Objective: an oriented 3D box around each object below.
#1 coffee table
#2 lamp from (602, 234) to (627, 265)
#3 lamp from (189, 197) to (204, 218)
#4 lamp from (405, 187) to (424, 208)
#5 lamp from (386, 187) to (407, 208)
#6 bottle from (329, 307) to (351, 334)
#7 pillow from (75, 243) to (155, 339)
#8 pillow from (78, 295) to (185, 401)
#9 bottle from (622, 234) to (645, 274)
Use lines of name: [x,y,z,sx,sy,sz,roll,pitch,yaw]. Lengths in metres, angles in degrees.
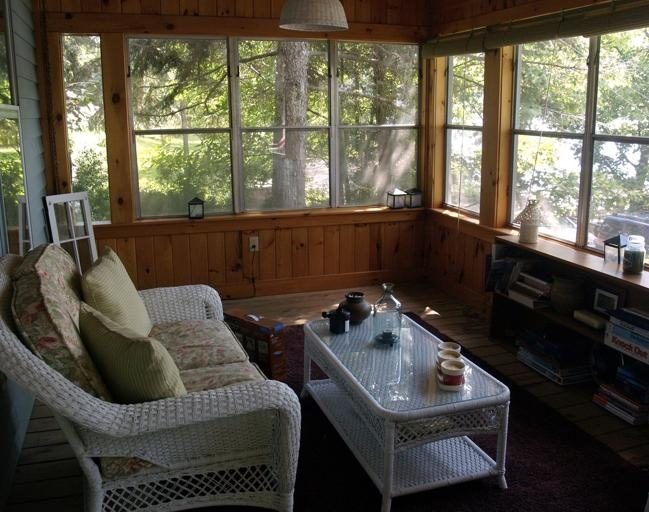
coffee table: [0.430,0.473,2.512,0.659,0.489,1.131,-5,14,-17]
lamp: [1.756,-0.024,3.215,0.123,0.181,0.123,-15,21,-29]
lamp: [-1.115,-0.418,4.673,0.156,0.240,0.158,-2,14,-13]
lamp: [0.868,-0.546,5.159,0.176,0.236,0.172,-6,10,-40]
lamp: [0.694,-0.547,5.107,0.169,0.209,0.173,0,13,3]
bottle: [0.080,0.379,3.096,0.125,0.176,0.125,1,12,0]
pillow: [-1.162,0.180,2.907,0.154,0.318,0.425,-17,24,-6]
pillow: [-0.716,0.399,2.122,0.345,0.362,0.107,-1,31,45]
bottle: [1.767,0.005,3.038,0.098,0.201,0.106,-2,15,1]
